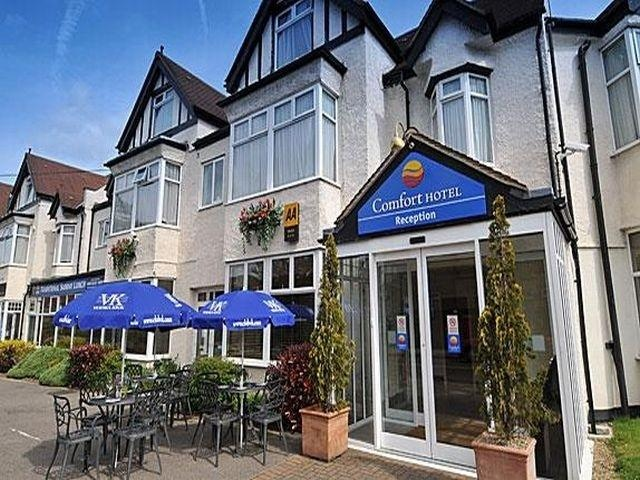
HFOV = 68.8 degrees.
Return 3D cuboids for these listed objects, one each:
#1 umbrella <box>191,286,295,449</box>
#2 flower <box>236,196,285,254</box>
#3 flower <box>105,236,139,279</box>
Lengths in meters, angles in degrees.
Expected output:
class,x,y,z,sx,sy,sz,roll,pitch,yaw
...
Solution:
class,x,y,z,sx,sy,sz,roll,pitch,yaw
umbrella,-1.848,3.269,12.269,2.682,4.444,3.086,0,-13,-4
flower,-1.746,-0.436,14.185,1.203,1.595,0.450,-15,-21,39
flower,-7.390,0.676,17.646,0.796,1.725,1.170,6,-10,-40
